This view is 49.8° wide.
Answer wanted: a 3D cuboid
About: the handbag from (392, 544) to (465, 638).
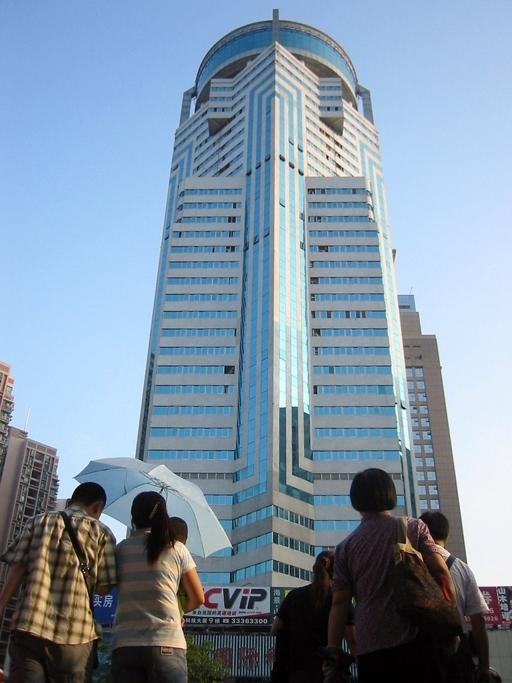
[{"bbox_3d":[0.918,1.362,3.033,0.322,0.490,0.241,-11,-26,27],"label":"handbag"}]
